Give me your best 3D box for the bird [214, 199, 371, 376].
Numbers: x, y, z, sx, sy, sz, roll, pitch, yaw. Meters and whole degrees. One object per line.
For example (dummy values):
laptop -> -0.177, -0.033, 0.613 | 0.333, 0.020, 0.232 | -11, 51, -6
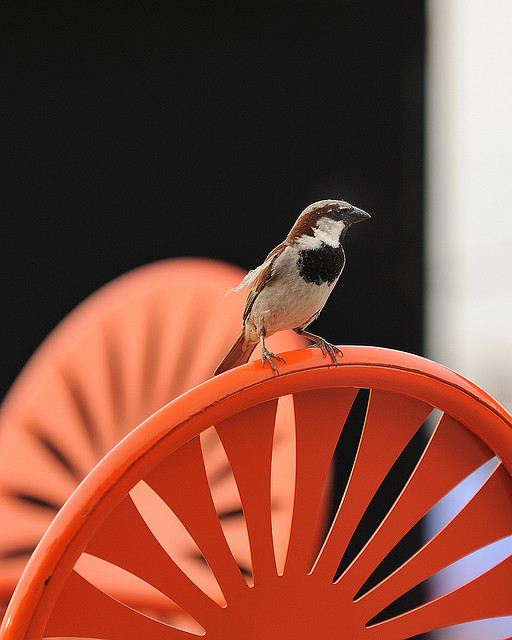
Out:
bird -> 0.029, -0.032, 1.080 | 0.217, 0.198, 0.112 | 2, 2, 45
